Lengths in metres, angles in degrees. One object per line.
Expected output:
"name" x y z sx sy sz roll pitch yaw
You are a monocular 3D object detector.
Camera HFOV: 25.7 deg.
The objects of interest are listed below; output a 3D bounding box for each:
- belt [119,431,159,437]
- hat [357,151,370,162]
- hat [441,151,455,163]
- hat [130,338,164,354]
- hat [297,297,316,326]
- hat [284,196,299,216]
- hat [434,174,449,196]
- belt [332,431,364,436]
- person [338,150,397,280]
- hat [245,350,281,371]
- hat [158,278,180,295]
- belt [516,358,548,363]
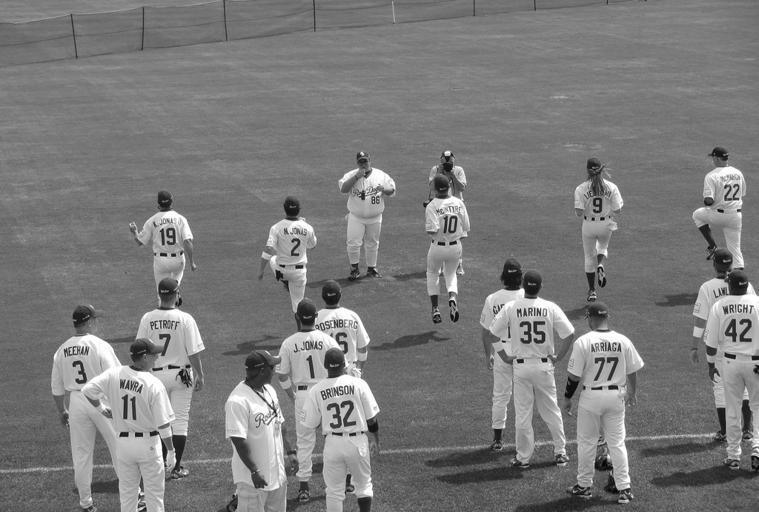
"belt" -5.328 3.982 36.815 0.851 0.130 0.101 -3 9 -2
"hat" -0.401 -2.662 44.649 0.354 0.213 0.473 -4 2 3
"hat" 1.843 -2.625 44.161 0.283 0.279 0.312 -4 8 -7
"hat" -5.123 2.035 36.907 0.607 0.188 0.399 -8 15 -42
"hat" -1.623 1.306 37.708 0.439 0.608 0.364 -4 9 -2
"hat" -2.184 -1.241 42.086 0.348 0.526 0.659 -5 8 -5
"hat" 1.608 -1.792 42.359 0.374 0.517 0.508 -4 8 1
"belt" -0.677 3.953 36.727 0.690 0.095 0.055 -3 9 -4
"person" -0.309 -1.093 45.000 1.306 3.448 0.702 -5 10 -4
"hat" -2.553 2.298 36.636 0.560 0.408 0.809 0 8 20
"hat" -4.821 0.671 38.287 0.378 0.228 0.441 2 29 4
"belt" 3.523 2.432 38.299 0.683 0.121 0.059 -2 9 4
